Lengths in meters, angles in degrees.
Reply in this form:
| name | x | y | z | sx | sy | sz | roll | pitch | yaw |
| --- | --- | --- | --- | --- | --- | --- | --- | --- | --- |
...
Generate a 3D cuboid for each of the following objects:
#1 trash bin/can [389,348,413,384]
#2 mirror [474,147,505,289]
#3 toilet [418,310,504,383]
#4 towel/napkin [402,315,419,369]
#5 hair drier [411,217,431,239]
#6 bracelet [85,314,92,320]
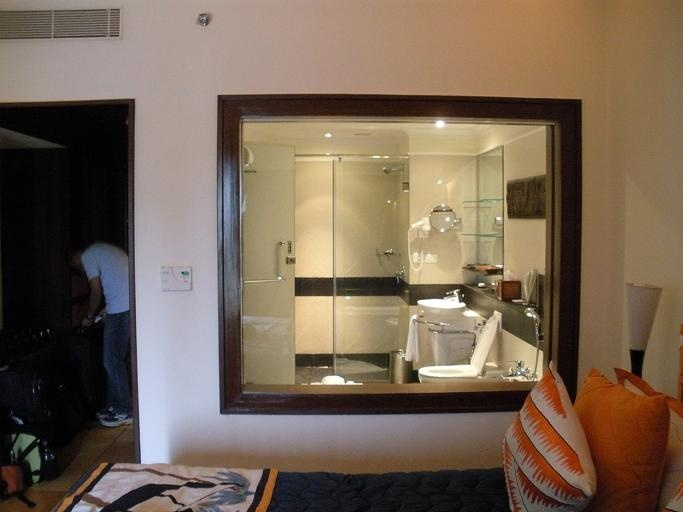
| name | x | y | z | sx | sy | sz | roll | pitch | yaw |
| --- | --- | --- | --- | --- | --- | --- | --- | --- | --- |
| trash bin/can | 0.400 | 0.747 | 3.800 | 0.188 | 0.325 | 0.196 | -1 | -1 | 0 |
| mirror | 1.035 | -0.270 | 3.885 | 0.222 | 0.937 | 0.218 | 2 | 4 | 28 |
| toilet | 0.793 | 0.668 | 3.682 | 0.495 | 0.716 | 0.219 | 4 | 1 | -1 |
| towel/napkin | 0.489 | 0.562 | 3.785 | 0.094 | 0.308 | 0.076 | 0 | 4 | 6 |
| hair drier | 0.570 | -0.205 | 3.986 | 0.187 | 0.154 | 0.039 | -3 | 5 | -39 |
| bracelet | -1.899 | 0.453 | 4.170 | 0.023 | 0.033 | 0.078 | 2 | -14 | -21 |
